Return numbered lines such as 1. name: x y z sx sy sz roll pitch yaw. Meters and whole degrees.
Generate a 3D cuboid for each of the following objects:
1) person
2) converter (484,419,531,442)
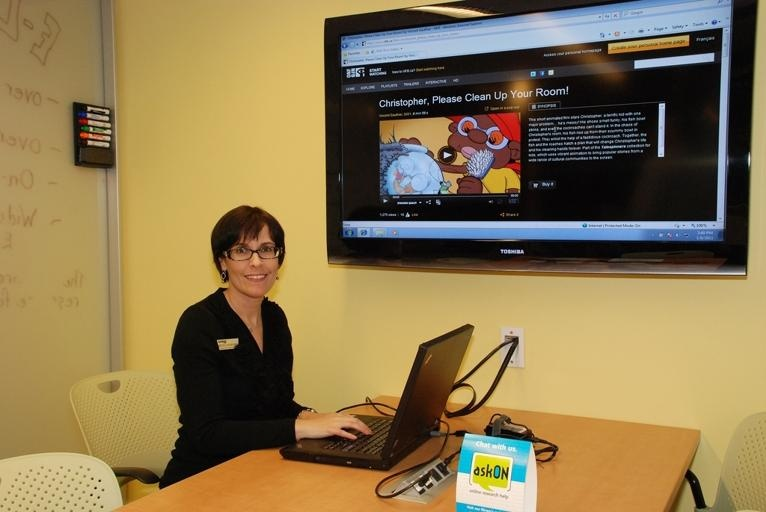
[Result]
1. person: -0.497 0.450 2.362 0.858 1.285 0.666 1 2 23
2. converter: 0.470 0.648 2.102 0.163 0.064 0.122 0 -4 22
